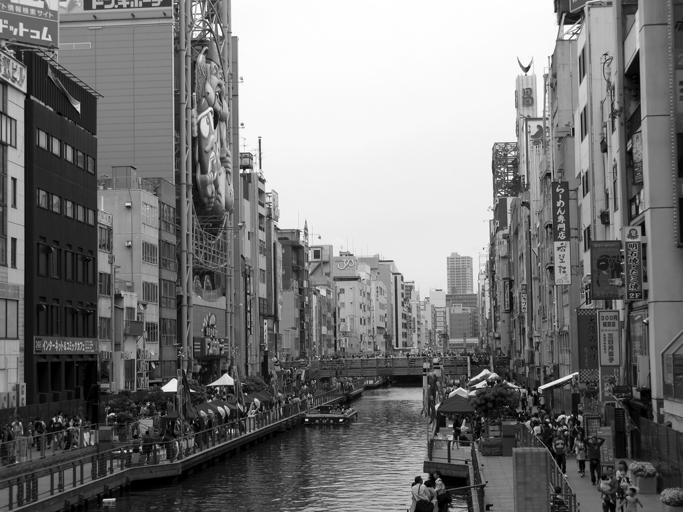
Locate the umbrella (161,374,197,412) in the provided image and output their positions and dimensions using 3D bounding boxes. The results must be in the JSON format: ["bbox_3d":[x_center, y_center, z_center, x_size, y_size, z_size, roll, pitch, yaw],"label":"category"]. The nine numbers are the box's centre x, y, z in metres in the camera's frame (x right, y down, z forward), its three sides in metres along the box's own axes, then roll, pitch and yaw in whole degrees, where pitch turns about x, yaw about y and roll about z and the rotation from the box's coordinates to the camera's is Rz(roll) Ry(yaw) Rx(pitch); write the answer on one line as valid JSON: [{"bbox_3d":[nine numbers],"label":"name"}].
[{"bbox_3d":[-11.502,9.873,94.782,2.075,1.036,3.198,2,-22,-3],"label":"umbrella"}]

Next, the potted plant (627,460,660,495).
[{"bbox_3d":[15.646,11.601,69.693,1.168,2.114,2.037,-1,-2,9],"label":"potted plant"}]
